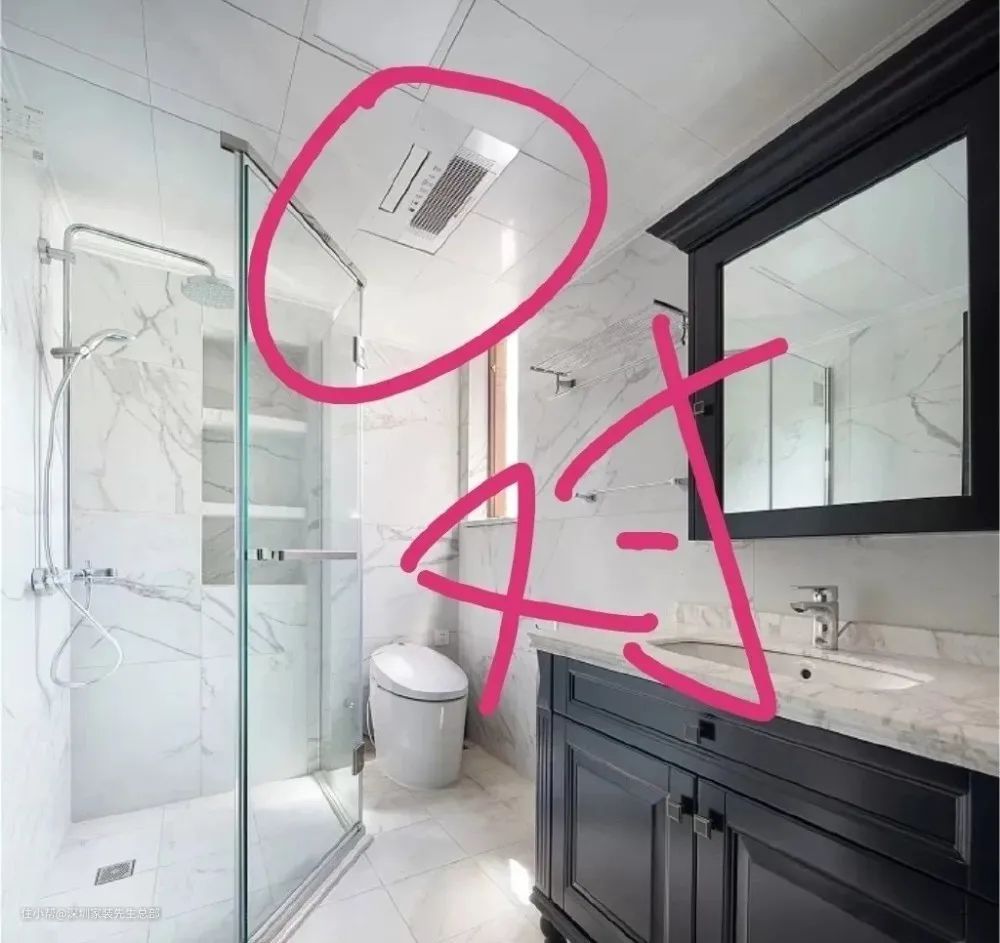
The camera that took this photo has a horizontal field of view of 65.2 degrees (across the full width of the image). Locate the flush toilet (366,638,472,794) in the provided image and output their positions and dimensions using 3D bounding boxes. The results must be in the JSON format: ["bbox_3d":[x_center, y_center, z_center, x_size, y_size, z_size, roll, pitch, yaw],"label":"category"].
[{"bbox_3d":[-0.353,0.982,3.215,0.324,0.416,0.512,3,9,-26],"label":"flush toilet"}]

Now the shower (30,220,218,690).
[{"bbox_3d":[-1.199,-0.021,2.643,0.565,1.599,0.745,0,2,-25],"label":"shower"}]

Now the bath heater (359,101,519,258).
[{"bbox_3d":[-0.207,-0.859,2.426,0.308,0.187,0.712,0,2,-24],"label":"bath heater"}]
